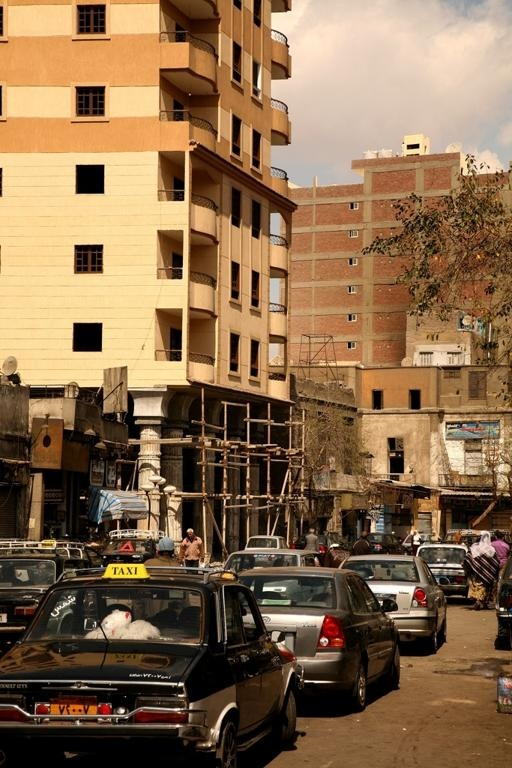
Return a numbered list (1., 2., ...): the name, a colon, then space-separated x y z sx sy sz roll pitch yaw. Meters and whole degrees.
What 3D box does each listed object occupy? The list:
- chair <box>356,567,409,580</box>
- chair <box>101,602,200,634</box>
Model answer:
1. chair: 1.754 2.629 18.979 0.719 0.137 0.182 2 -9 17
2. chair: -0.682 1.642 9.393 0.535 0.244 0.259 1 -21 8
